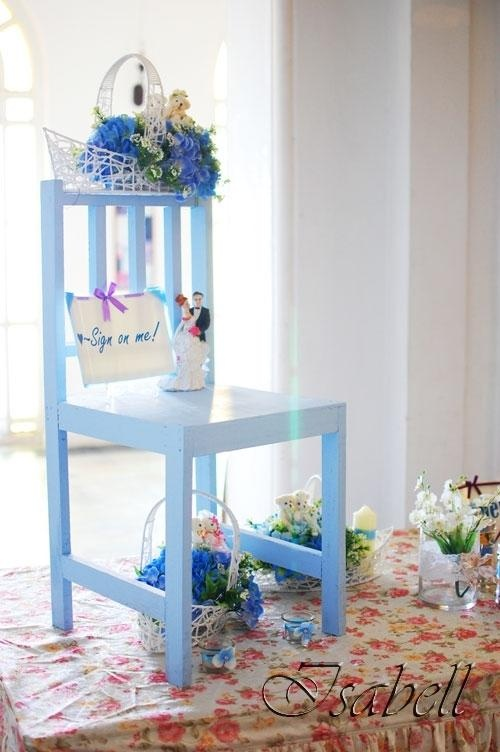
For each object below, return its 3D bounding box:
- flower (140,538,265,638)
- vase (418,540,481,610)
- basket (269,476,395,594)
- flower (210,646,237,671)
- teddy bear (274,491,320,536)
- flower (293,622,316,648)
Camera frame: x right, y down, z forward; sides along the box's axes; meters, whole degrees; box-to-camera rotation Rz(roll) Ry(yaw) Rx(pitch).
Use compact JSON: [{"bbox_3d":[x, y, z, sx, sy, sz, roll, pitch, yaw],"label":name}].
[{"bbox_3d":[-0.060,0.348,1.358,0.162,0.089,0.164,16,-7,11],"label":"flower"},{"bbox_3d":[0.346,0.352,1.486,0.119,0.132,0.120,0,0,-17],"label":"vase"},{"bbox_3d":[0.172,0.316,1.650,0.258,0.164,0.188,7,-12,-22],"label":"basket"},{"bbox_3d":[-0.040,0.423,1.211,0.040,0.029,0.018,-4,7,-32],"label":"flower"},{"bbox_3d":[0.101,0.266,1.582,0.062,0.042,0.080,-11,45,-4],"label":"teddy bear"},{"bbox_3d":[0.087,0.420,1.312,0.035,0.030,0.039,1,-8,-19],"label":"flower"}]
